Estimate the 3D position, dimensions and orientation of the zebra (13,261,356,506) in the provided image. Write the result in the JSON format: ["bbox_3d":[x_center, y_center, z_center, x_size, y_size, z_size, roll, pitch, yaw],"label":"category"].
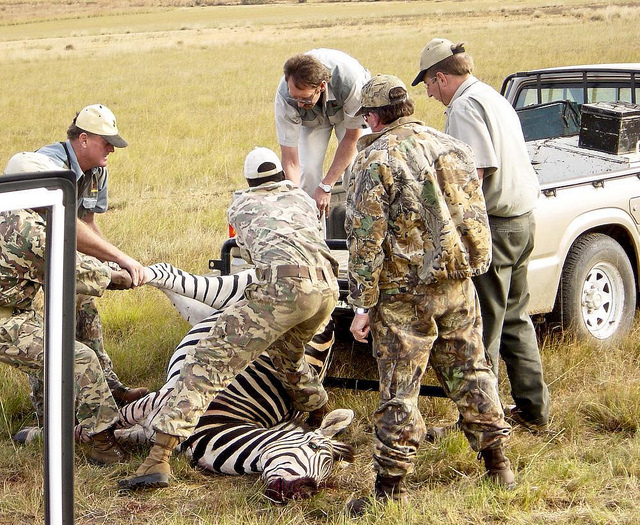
[{"bbox_3d":[-0.587,0.751,6.685,1.637,1.413,1.135,0,7,1],"label":"zebra"}]

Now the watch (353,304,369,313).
[{"bbox_3d":[0.242,0.288,6.025,0.096,0.067,0.106,0,8,1],"label":"watch"}]

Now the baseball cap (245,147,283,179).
[{"bbox_3d":[-0.378,-0.658,6.616,0.245,0.198,0.187,-1,7,-6],"label":"baseball cap"}]

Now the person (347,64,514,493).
[{"bbox_3d":[0.645,0.140,6.005,0.954,2.522,0.417,0,6,1],"label":"person"}]

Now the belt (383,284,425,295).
[{"bbox_3d":[0.494,0.170,5.959,0.245,0.059,0.024,0,7,2],"label":"belt"}]

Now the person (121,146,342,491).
[{"bbox_3d":[-0.481,0.358,6.553,1.359,2.178,0.585,-3,7,-21],"label":"person"}]

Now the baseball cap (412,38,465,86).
[{"bbox_3d":[0.736,-1.383,6.740,0.364,0.213,0.241,-27,9,25],"label":"baseball cap"}]

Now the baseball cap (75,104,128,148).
[{"bbox_3d":[-1.552,-1.001,7.147,0.440,0.252,0.322,18,9,4],"label":"baseball cap"}]

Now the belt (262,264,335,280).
[{"bbox_3d":[-0.122,0.066,6.452,0.494,0.118,0.159,-4,8,-25],"label":"belt"}]

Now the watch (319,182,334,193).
[{"bbox_3d":[0.038,-0.588,8.090,0.104,0.065,0.109,-7,56,-52],"label":"watch"}]
